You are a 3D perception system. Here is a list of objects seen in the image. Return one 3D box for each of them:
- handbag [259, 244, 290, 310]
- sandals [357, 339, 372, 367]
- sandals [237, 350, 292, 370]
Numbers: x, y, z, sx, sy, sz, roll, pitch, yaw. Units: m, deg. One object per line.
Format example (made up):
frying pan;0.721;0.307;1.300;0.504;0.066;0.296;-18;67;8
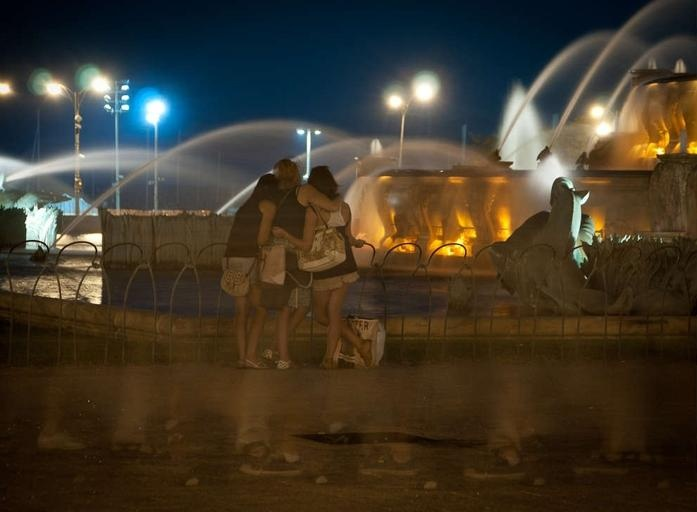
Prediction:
handbag;-0.843;0.223;10.922;0.327;0.726;0.219;0;13;-3
sandals;0.177;1.096;11.155;0.128;0.336;0.141;-10;15;24
sandals;-0.965;1.204;11.169;0.441;0.136;0.263;-4;-3;13
